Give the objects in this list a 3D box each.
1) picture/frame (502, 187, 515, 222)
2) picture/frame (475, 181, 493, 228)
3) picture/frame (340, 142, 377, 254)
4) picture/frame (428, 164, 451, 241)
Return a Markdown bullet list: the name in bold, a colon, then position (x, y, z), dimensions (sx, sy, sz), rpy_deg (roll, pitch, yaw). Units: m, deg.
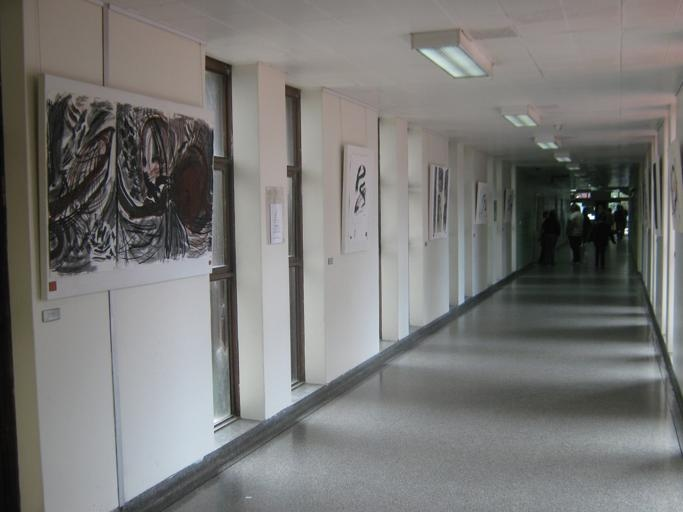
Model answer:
- **picture/frame**: position (4.728, -1.473, 14.646), dimensions (0.069, 1.026, 0.934), rpy_deg (0, 4, 26)
- **picture/frame**: position (3.460, -1.281, 12.495), dimensions (0.257, 0.969, 1.827), rpy_deg (0, 5, 20)
- **picture/frame**: position (0.189, -0.754, 6.555), dimensions (0.102, 1.680, 1.333), rpy_deg (1, 2, 19)
- **picture/frame**: position (1.766, -0.992, 9.419), dimensions (0.101, 1.579, 1.340), rpy_deg (1, 3, 24)
